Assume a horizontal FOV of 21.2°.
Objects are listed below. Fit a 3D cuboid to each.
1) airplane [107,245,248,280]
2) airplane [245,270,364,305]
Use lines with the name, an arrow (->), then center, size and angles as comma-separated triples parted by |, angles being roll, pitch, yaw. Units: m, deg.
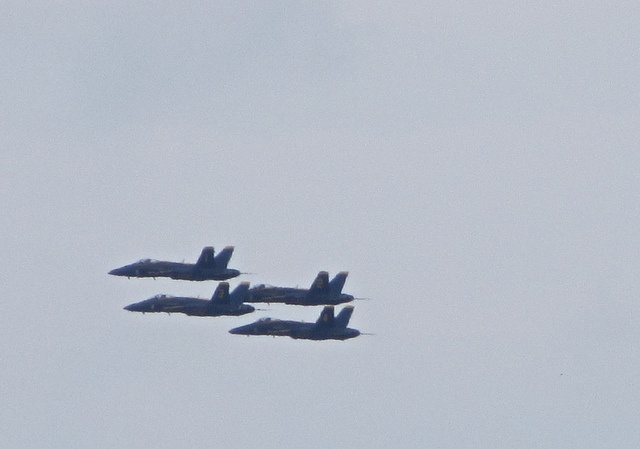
airplane -> -18.946, 6.762, 246.567 | 15.623, 6.268, 3.396 | -7, -46, 7
airplane -> -1.369, 9.571, 227.445 | 11.666, 5.807, 4.106 | 9, -56, 11
